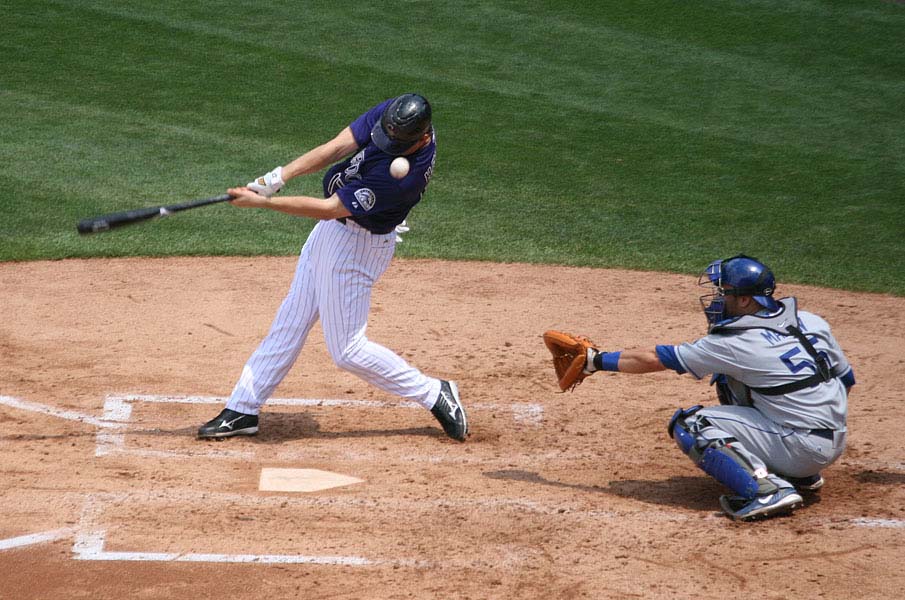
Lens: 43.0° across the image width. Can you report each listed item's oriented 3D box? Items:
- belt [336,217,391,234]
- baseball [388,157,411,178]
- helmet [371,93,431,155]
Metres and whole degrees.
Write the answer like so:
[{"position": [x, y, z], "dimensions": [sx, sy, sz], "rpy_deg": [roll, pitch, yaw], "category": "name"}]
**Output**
[{"position": [-0.682, -0.584, 9.033], "dimensions": [0.429, 0.109, 0.109], "rpy_deg": [4, 18, -13], "category": "belt"}, {"position": [-0.402, -1.002, 8.796], "dimensions": [0.220, 0.142, 0.097], "rpy_deg": [3, -31, 1], "category": "baseball"}, {"position": [-0.411, -1.343, 8.864], "dimensions": [0.443, 0.494, 0.271], "rpy_deg": [16, 19, 3], "category": "helmet"}]
